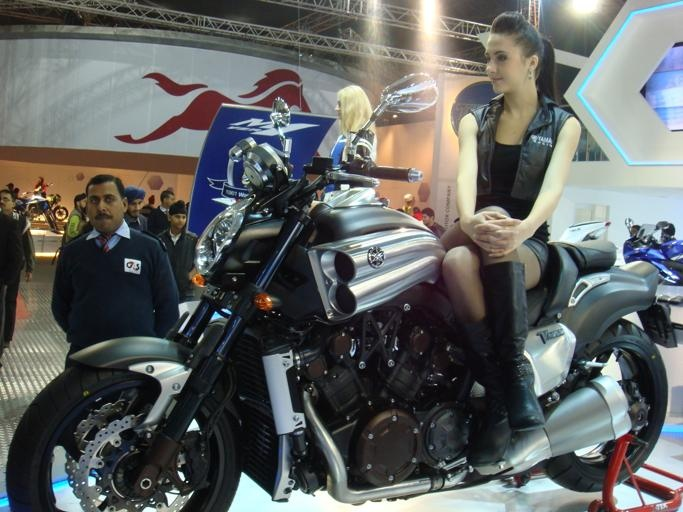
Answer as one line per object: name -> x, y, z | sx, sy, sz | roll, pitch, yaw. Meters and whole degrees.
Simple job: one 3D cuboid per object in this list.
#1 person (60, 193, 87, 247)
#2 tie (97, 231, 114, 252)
person -> -4.656, -0.734, 8.980 | 0.424, 1.034, 0.577 | 10, 43, -24
tie -> -1.451, -0.092, 3.147 | 0.077, 0.114, 0.029 | 1, -6, -5
